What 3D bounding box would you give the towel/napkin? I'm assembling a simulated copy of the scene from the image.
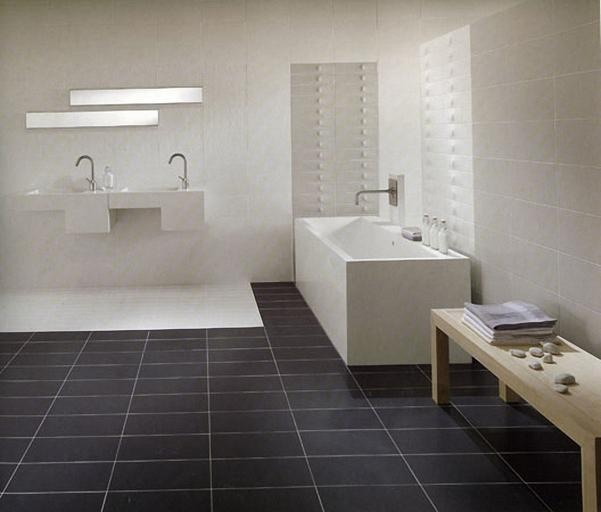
[{"bbox_3d":[0.956,0.301,2.221,0.226,0.084,0.235,-2,10,-10],"label":"towel/napkin"}]
